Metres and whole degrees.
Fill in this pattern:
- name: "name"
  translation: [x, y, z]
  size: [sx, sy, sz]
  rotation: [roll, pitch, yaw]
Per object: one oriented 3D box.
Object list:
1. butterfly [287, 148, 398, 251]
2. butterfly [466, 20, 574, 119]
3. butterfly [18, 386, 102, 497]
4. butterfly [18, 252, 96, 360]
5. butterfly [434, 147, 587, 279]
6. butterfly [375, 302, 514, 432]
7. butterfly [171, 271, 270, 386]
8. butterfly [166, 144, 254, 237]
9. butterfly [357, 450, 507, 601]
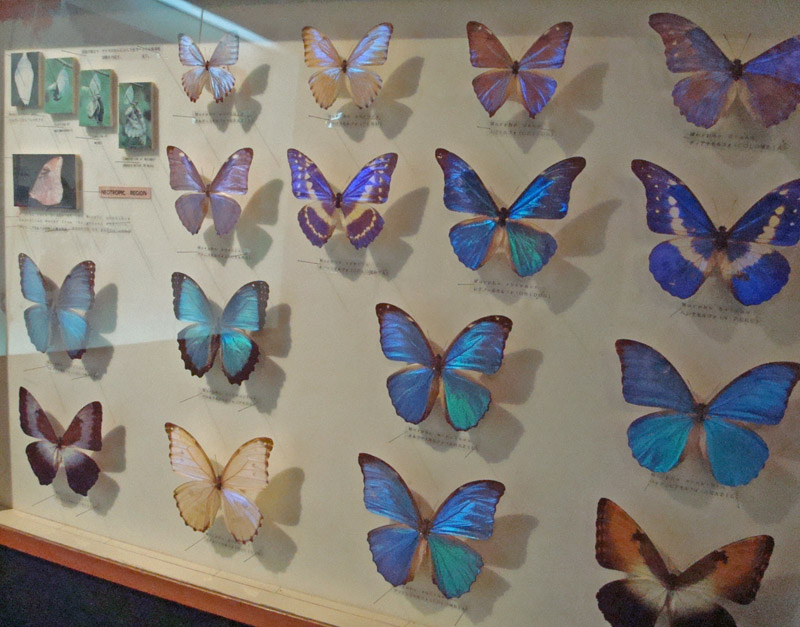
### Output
- name: "butterfly"
  translation: [-0.187, -0.369, 3.203]
  size: [0.349, 0.322, 0.074]
  rotation: [9, 8, 13]
- name: "butterfly"
  translation: [0.343, -0.741, 3.057]
  size: [0.304, 0.298, 0.070]
  rotation: [9, 8, 12]
- name: "butterfly"
  translation: [-1.210, 0.457, 3.613]
  size: [0.385, 0.378, 0.083]
  rotation: [10, 9, 23]
- name: "butterfly"
  translation: [-1.209, -0.029, 3.584]
  size: [0.306, 0.362, 0.056]
  rotation: [10, 9, 21]
- name: "butterfly"
  translation: [0.313, -0.316, 3.079]
  size: [0.436, 0.378, 0.095]
  rotation: [8, 8, 9]
- name: "butterfly"
  translation: [0.116, 0.162, 3.131]
  size: [0.414, 0.381, 0.052]
  rotation: [9, 8, 11]
- name: "butterfly"
  translation: [-0.581, 0.038, 3.367]
  size: [0.281, 0.358, 0.036]
  rotation: [5, 9, 18]
- name: "butterfly"
  translation: [-0.626, -0.413, 3.342]
  size: [0.301, 0.303, 0.072]
  rotation: [10, 9, 20]
- name: "butterfly"
  translation: [0.076, 0.670, 3.176]
  size: [0.459, 0.402, 0.088]
  rotation: [8, 8, 9]
